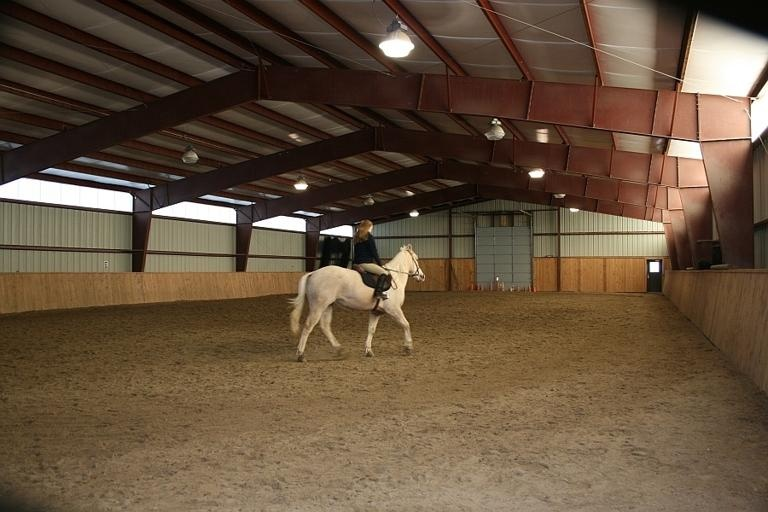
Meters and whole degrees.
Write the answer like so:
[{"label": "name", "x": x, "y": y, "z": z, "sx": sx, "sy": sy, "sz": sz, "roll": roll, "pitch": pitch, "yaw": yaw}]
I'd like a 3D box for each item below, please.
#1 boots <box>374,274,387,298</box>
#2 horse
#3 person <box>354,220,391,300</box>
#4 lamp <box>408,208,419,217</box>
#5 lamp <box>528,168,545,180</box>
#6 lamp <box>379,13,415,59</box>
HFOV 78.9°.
[{"label": "boots", "x": 0.019, "y": 0.576, "z": 9.039, "sx": 0.329, "sy": 0.492, "sz": 0.169, "roll": 0, "pitch": 1, "yaw": -6}, {"label": "horse", "x": -0.431, "y": 0.927, "z": 9.489, "sx": 3.454, "sy": 1.977, "sz": 0.824, "roll": 0, "pitch": -9, "yaw": -35}, {"label": "person", "x": -0.283, "y": 0.063, "z": 9.211, "sx": 0.796, "sy": 1.549, "sz": 0.609, "roll": 0, "pitch": 1, "yaw": 42}, {"label": "lamp", "x": 2.401, "y": -3.136, "z": 33.649, "sx": 0.881, "sy": 0.273, "sz": 0.727, "roll": -1, "pitch": -7, "yaw": 5}, {"label": "lamp", "x": 6.639, "y": -3.414, "z": 19.494, "sx": 1.061, "sy": 0.257, "sz": 0.873, "roll": 0, "pitch": -4, "yaw": 3}, {"label": "lamp", "x": 0.290, "y": -4.226, "z": 8.952, "sx": 0.621, "sy": 0.700, "sz": 0.338, "roll": 0, "pitch": 1, "yaw": 2}]
